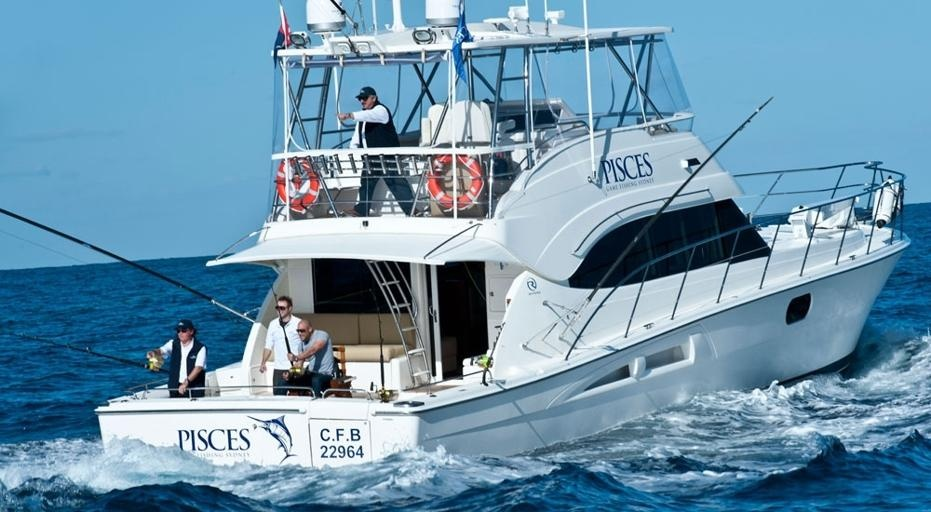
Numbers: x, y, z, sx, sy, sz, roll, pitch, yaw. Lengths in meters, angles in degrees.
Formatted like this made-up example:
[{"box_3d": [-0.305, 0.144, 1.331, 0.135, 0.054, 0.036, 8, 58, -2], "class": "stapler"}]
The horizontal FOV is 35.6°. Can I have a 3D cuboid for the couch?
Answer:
[{"box_3d": [-1.788, 1.508, 24.666, 1.935, 0.745, 0.889, 1, 9, -9], "class": "couch"}]

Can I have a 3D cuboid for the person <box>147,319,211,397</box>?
[{"box_3d": [-4.710, 1.732, 24.323, 1.029, 1.316, 0.642, 3, 8, 24], "class": "person"}]

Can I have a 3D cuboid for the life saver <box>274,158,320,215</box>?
[{"box_3d": [-2.908, -1.226, 25.247, 0.957, 0.877, 0.267, -3, 6, 21], "class": "life saver"}]

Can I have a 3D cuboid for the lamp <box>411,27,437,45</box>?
[{"box_3d": [-0.711, -3.765, 24.838, 0.373, 0.267, 0.146, 0, 8, -2], "class": "lamp"}]

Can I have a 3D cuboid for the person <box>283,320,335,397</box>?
[{"box_3d": [-2.563, 1.682, 24.229, 0.792, 1.203, 0.653, 1, 8, 9], "class": "person"}]

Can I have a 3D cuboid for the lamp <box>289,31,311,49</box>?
[{"box_3d": [-2.875, -3.758, 25.221, 0.350, 0.267, 0.113, 0, 8, 2], "class": "lamp"}]

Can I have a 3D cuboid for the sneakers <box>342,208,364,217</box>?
[{"box_3d": [-1.932, -0.760, 25.242, 0.478, 0.167, 0.151, -4, -1, 24], "class": "sneakers"}]
